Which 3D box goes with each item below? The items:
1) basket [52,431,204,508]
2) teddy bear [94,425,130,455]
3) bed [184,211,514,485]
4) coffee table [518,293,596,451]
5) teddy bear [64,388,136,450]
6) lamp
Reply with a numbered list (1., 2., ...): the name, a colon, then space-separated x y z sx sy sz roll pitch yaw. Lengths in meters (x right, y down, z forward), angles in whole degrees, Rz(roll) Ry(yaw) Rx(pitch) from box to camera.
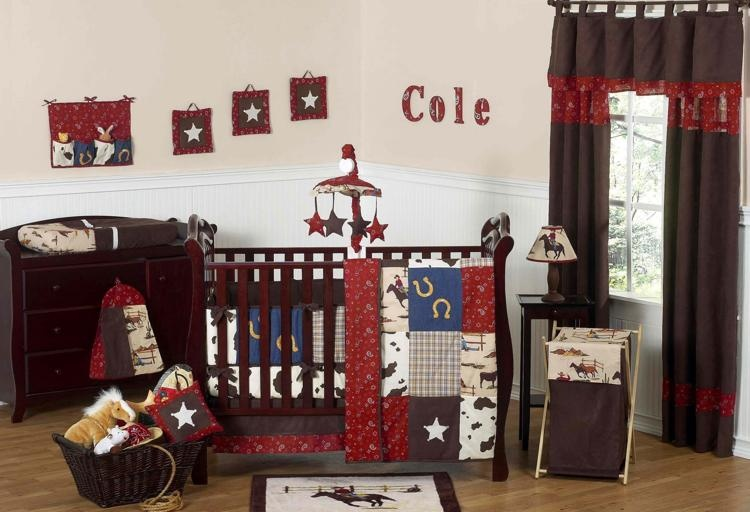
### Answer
1. basket: -1.237 1.058 3.700 0.527 0.286 0.395 -1 -1 -32
2. teddy bear: -1.287 0.909 3.624 0.127 0.048 0.108 -32 38 -2
3. bed: -0.095 0.420 4.249 1.642 1.342 0.980 0 10 5
4. coffee table: 1.056 0.634 4.427 0.451 0.838 0.662 3 13 16
5. teddy bear: -1.409 0.842 3.766 0.348 0.287 0.117 -7 -2 -3
6. lamp: 1.023 0.039 4.292 0.268 0.426 0.276 1 7 26
